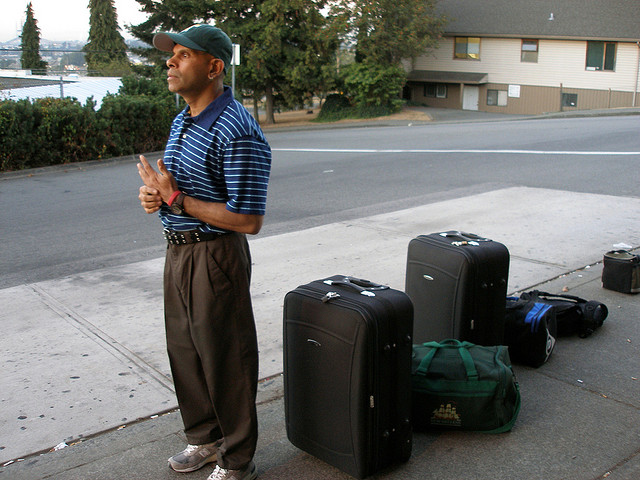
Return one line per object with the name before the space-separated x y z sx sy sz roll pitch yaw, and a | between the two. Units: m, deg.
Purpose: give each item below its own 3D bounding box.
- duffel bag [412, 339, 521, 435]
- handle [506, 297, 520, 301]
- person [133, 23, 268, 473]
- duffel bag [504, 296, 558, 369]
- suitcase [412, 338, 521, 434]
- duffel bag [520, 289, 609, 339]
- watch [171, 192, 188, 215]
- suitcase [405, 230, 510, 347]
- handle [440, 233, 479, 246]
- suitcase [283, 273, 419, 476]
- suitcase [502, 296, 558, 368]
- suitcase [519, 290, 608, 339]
duffel bag | 0.954 1.010 3.902 0.904 0.562 0.762 -1 7 9
handle | 1.789 0.532 4.931 0.097 0.037 0.100 2 -5 -45
person | -0.663 0.097 3.217 0.763 2.716 0.734 -7 15 -17
duffel bag | 1.745 0.738 4.717 0.624 0.426 0.473 7 16 43
suitcase | 0.918 1.000 3.821 0.932 0.585 0.542 0 9 12
duffel bag | 2.381 0.677 4.977 0.554 0.224 0.542 -6 12 -37
watch | -0.799 -0.218 3.032 0.063 0.094 0.094 27 47 19
suitcase | 1.068 0.413 4.203 0.766 0.850 0.415 2 15 17
handle | 1.136 -0.016 4.236 0.228 0.031 0.097 18 30 34
suitcase | 0.172 0.852 3.243 0.617 1.207 0.998 -11 18 -43
suitcase | 1.722 0.740 4.721 0.657 0.421 0.504 8 12 37
suitcase | 2.390 0.594 4.964 0.561 0.204 0.539 -7 13 -32
